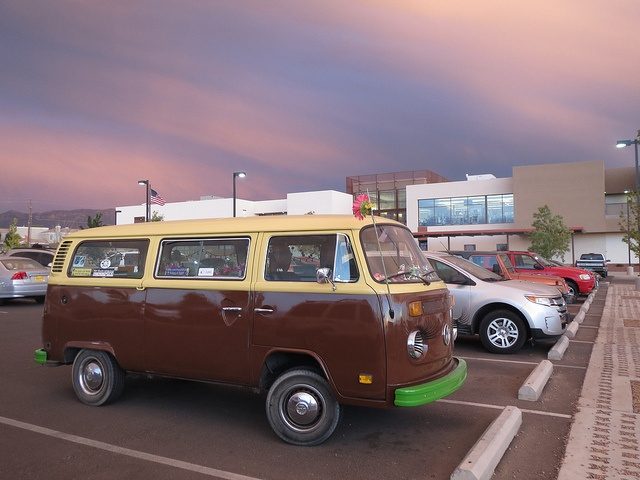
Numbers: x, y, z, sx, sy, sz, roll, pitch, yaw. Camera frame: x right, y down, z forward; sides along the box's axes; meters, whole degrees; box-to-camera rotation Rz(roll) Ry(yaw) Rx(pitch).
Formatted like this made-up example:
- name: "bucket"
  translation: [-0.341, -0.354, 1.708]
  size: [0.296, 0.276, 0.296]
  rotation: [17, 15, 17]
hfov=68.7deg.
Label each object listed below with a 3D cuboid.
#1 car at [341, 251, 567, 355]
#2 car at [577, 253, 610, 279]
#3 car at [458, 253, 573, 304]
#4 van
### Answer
- name: "car"
  translation: [3.603, 1.330, 10.799]
  size: [3.625, 1.682, 1.927]
  rotation: [-2, 0, 28]
- name: "car"
  translation: [18.343, 1.738, 31.329]
  size: [1.536, 1.420, 3.216]
  rotation: [0, 3, 23]
- name: "car"
  translation: [5.765, 1.285, 14.091]
  size: [3.129, 1.500, 1.774]
  rotation: [-1, 1, 15]
- name: "van"
  translation: [-1.357, 1.207, 7.430]
  size: [6.513, 3.044, 2.843]
  rotation: [-1, -6, 24]
